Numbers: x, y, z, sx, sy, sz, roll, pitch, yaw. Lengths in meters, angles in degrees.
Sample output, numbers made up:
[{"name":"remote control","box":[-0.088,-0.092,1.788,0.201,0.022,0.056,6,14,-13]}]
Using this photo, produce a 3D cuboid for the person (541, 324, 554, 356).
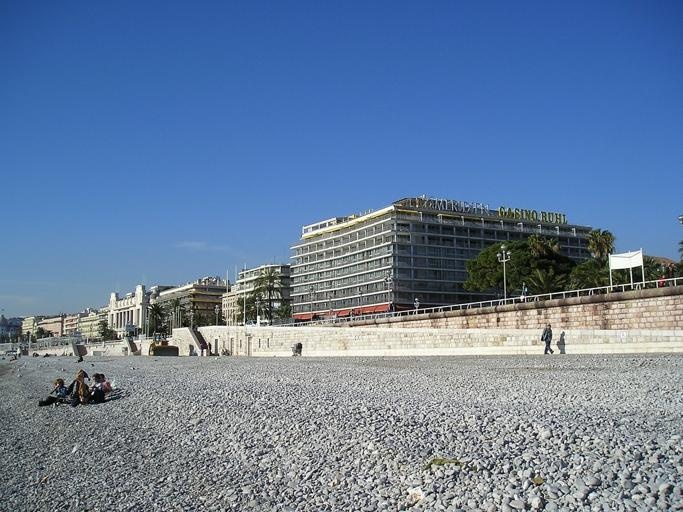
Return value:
[{"name":"person","box":[11.114,4.450,31.832,0.541,1.545,3.287,-3,-4,20]}]

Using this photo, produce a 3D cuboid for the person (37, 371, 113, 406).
[{"name":"person","box":[-8.240,4.249,18.940,1.337,0.832,1.782,3,-4,-1]}]
